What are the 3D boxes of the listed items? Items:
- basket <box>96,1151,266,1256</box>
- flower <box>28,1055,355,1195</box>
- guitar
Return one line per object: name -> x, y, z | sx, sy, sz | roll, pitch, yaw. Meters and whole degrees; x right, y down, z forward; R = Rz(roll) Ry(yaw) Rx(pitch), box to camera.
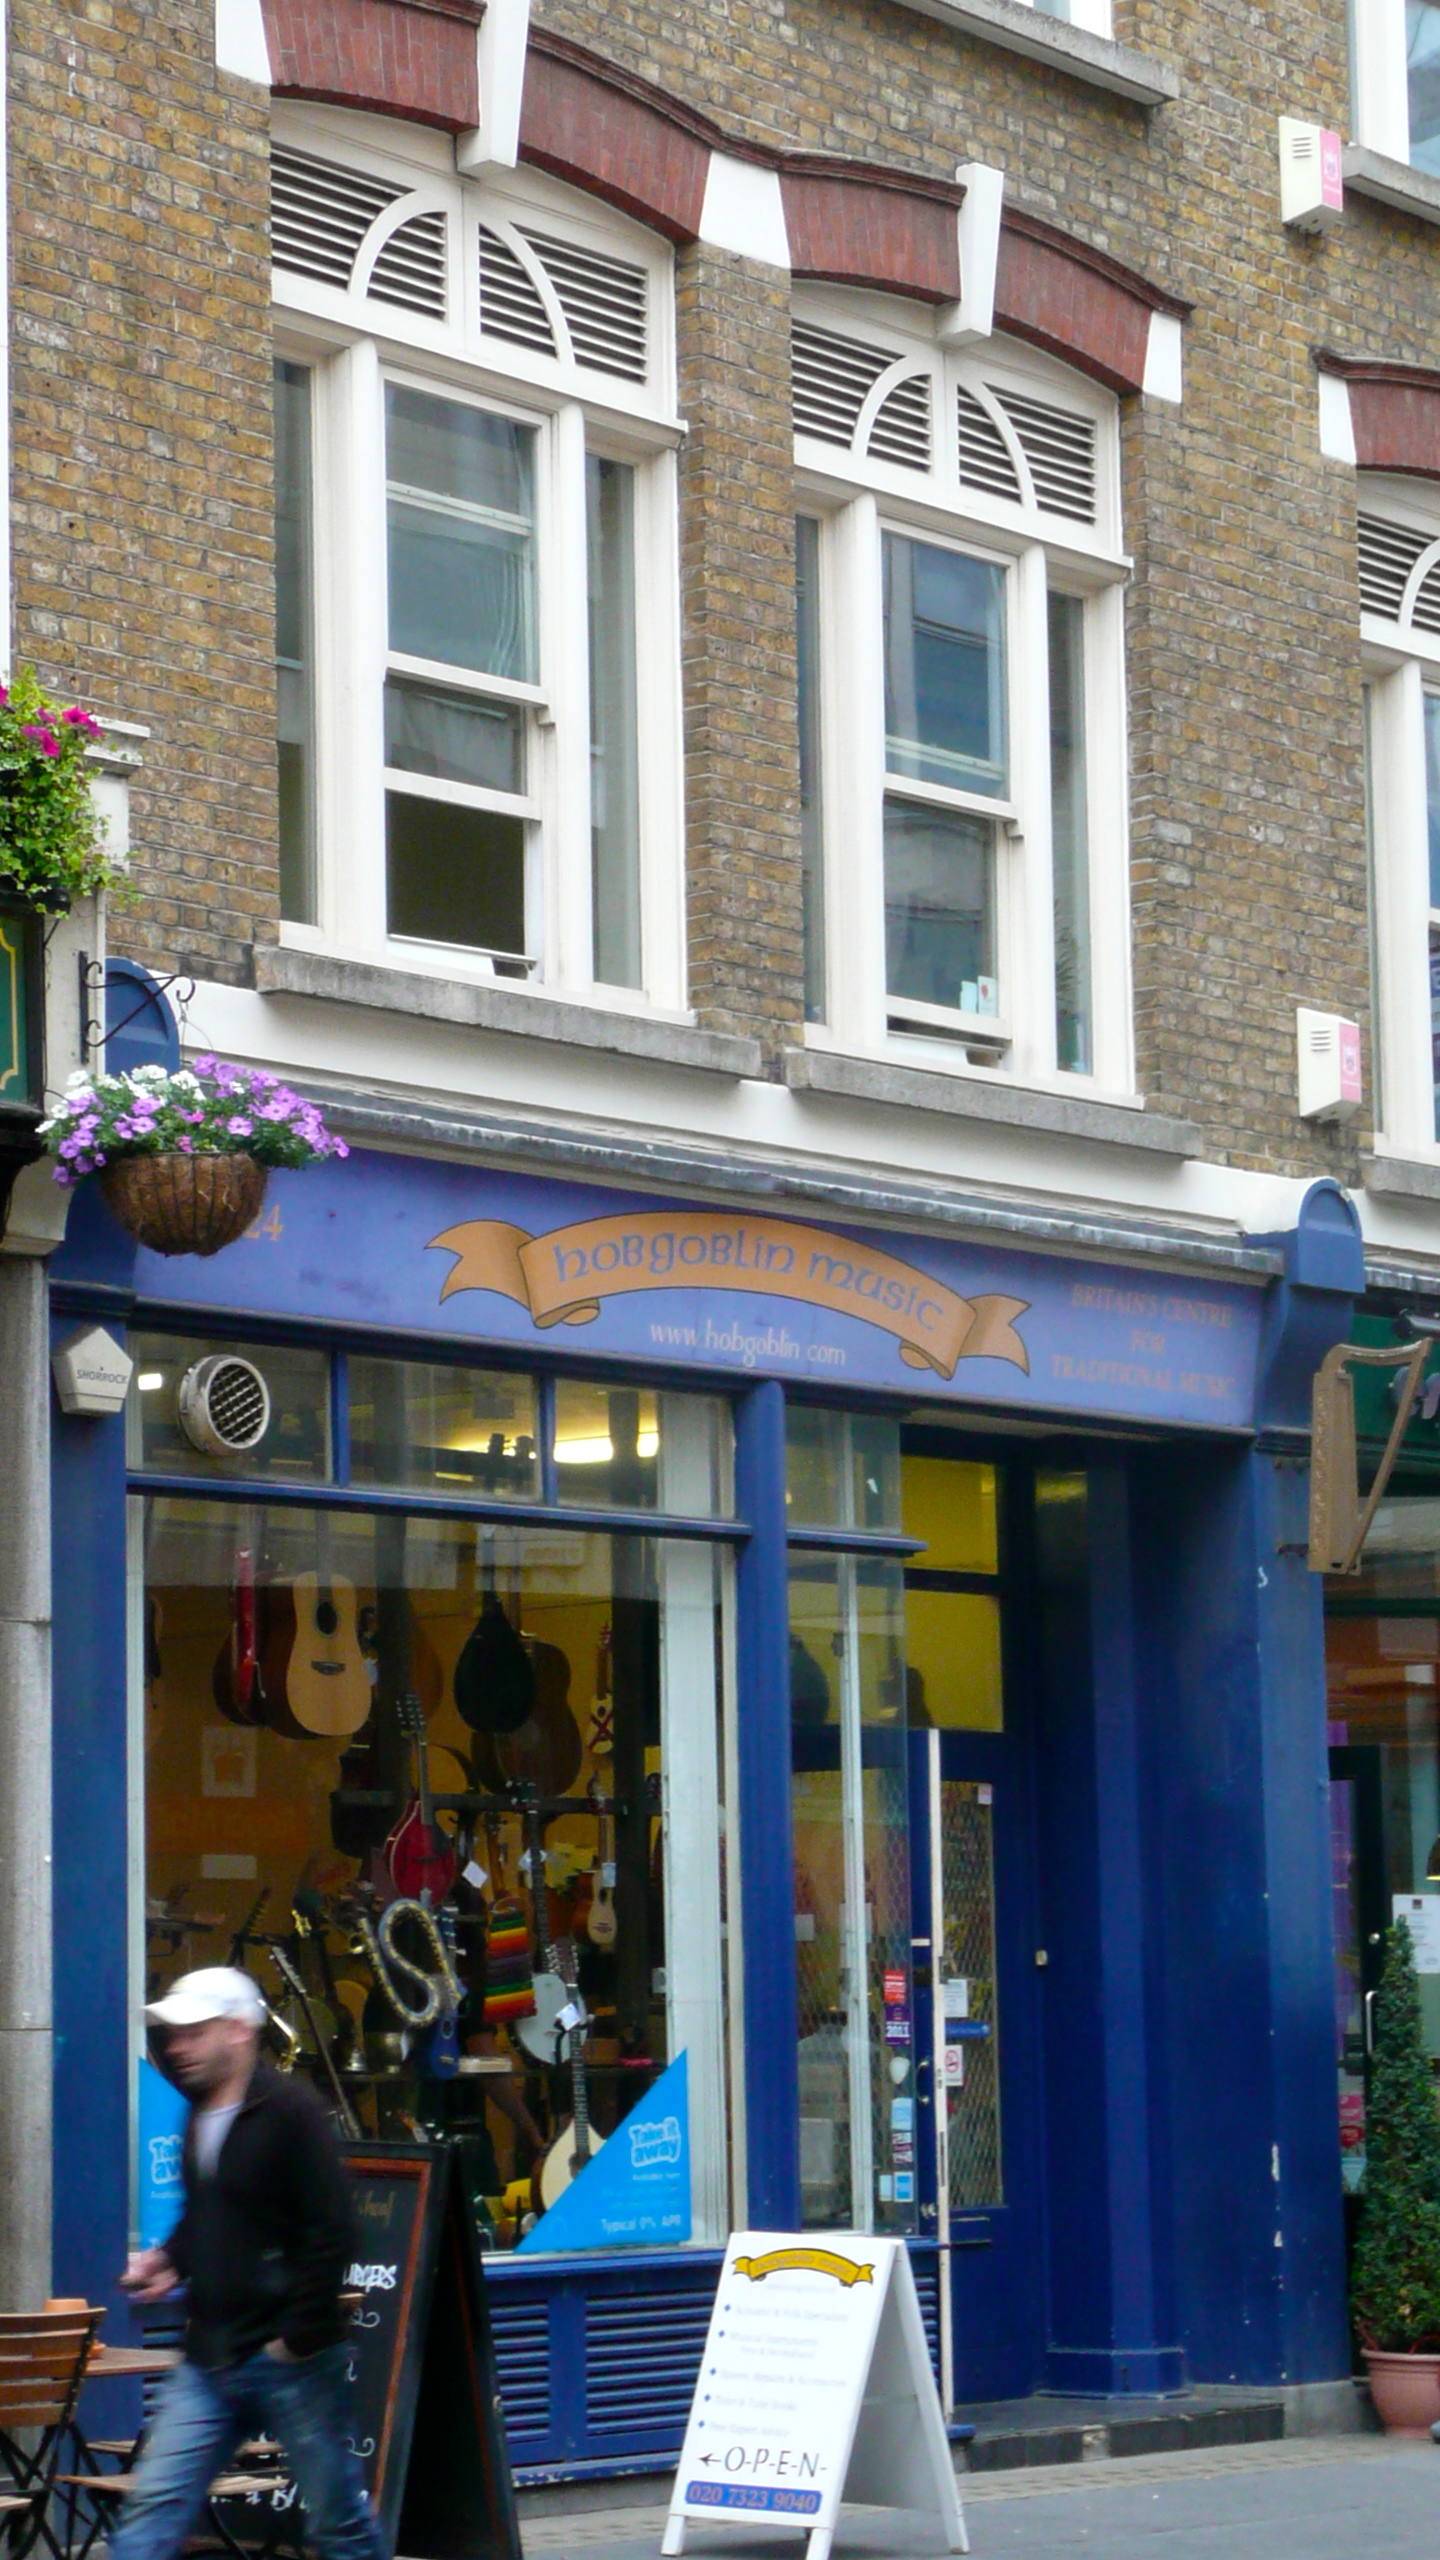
basket -> -1.275, -0.183, 8.820 | 0.233, 0.171, 0.254 | -6, -8, 24
flower -> -1.293, -0.391, 8.879 | 0.343, 0.340, 0.798 | -6, -9, 42
guitar -> -0.864, 1.083, 10.054 | 0.154, 1.653, 1.233 | -4, -8, 41
